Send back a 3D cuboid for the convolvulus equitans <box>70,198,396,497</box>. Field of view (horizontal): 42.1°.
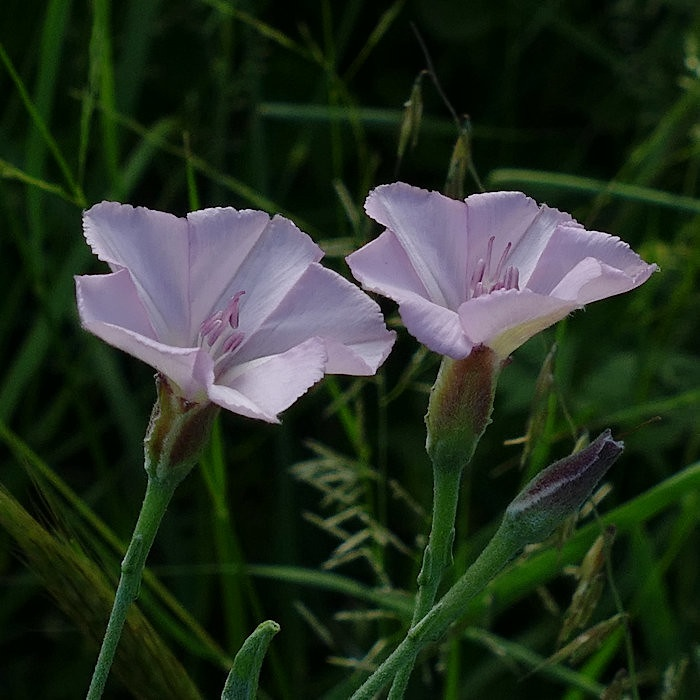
[{"bbox_3d":[-0.119,-0.023,0.753,0.216,0.111,0.266,-4,-22,26],"label":"convolvulus equitans"}]

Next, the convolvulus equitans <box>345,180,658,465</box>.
[{"bbox_3d":[0.103,0.006,0.706,0.238,0.205,0.216,5,-3,-1],"label":"convolvulus equitans"}]
